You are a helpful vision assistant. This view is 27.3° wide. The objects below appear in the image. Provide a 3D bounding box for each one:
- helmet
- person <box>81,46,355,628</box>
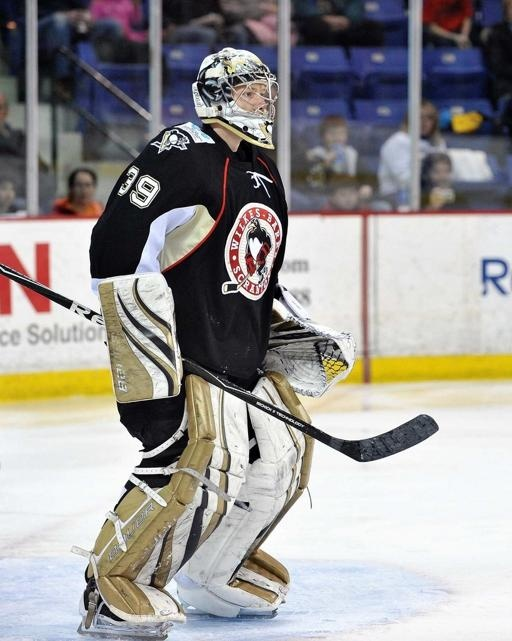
[{"bbox_3d":[-0.033,-0.512,2.458,0.266,0.227,0.215,4,9,26],"label":"helmet"},{"bbox_3d":[-0.076,0.059,2.362,0.338,1.330,0.587,9,10,39],"label":"person"}]
